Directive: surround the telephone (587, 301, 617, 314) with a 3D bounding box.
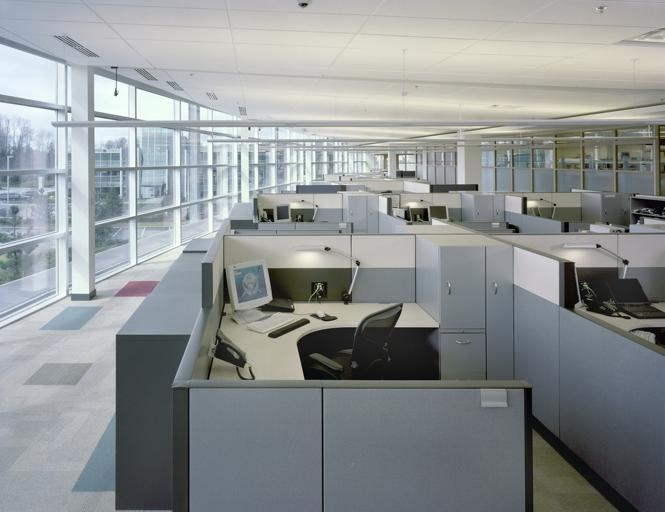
[{"bbox_3d":[2.018,0.409,3.875,0.202,0.077,0.272,4,15,25],"label":"telephone"}]

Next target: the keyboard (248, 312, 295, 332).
[{"bbox_3d":[-0.462,0.519,4.025,0.230,0.036,0.465,6,16,32],"label":"keyboard"}]

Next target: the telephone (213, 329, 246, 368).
[{"bbox_3d":[-0.633,0.593,3.151,0.222,0.081,0.206,29,19,-14],"label":"telephone"}]

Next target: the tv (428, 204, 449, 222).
[{"bbox_3d":[1.782,-0.699,8.718,0.483,0.315,0.243,0,-6,-8],"label":"tv"}]
